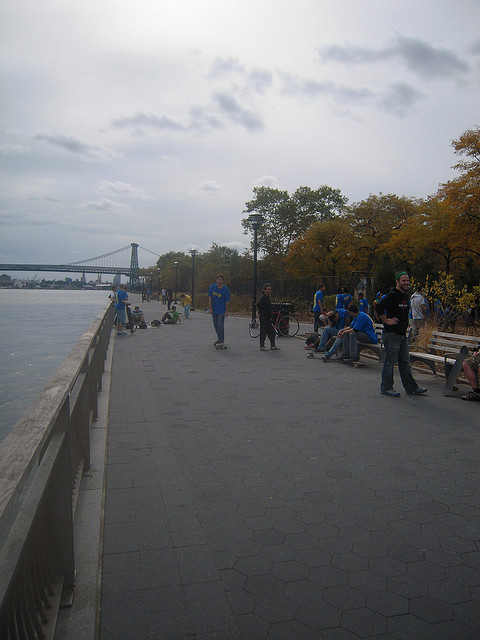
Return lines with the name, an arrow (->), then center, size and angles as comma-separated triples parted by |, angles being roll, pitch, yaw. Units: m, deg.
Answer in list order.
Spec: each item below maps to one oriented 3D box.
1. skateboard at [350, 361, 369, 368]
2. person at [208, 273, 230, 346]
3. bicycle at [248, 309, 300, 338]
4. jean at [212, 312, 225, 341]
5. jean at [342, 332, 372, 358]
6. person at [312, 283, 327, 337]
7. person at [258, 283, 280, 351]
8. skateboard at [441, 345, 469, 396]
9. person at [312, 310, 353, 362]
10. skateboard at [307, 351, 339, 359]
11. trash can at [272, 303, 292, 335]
skateboard -> 2.668, 0.997, 10.195 | 0.417, 0.127, 0.310 | 3, 5, 1
person -> -0.614, -0.234, 13.611 | 0.566, 2.135, 1.441 | 1, 5, -2
bicycle -> 1.324, 0.245, 17.148 | 1.836, 1.589, 1.024 | -8, 8, -19
jean -> -0.591, 0.215, 13.340 | 0.360, 0.837, 0.394 | 3, 5, 17
jean -> 2.606, 0.562, 10.395 | 0.418, 0.710, 0.517 | 3, -1, 7
person -> 2.705, -0.271, 15.659 | 0.362, 1.913, 0.570 | 3, 3, 4
person -> 0.773, -0.045, 12.894 | 0.529, 1.856, 0.785 | 2, 5, 3
skateboard -> 3.316, 0.791, 7.082 | 0.155, 1.050, 0.242 | 15, 1, -27
person -> 2.329, 0.343, 11.580 | 0.998, 1.899, 0.776 | -3, 9, -18
skateboard -> 1.974, 0.880, 11.498 | 0.520, 0.170, 0.326 | -1, -3, -12
trash can -> 1.490, -0.049, 16.588 | 0.801, 1.072, 0.436 | 1, -9, -24
